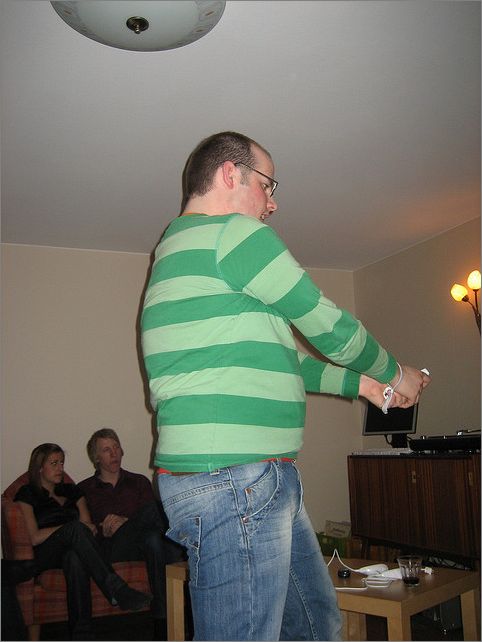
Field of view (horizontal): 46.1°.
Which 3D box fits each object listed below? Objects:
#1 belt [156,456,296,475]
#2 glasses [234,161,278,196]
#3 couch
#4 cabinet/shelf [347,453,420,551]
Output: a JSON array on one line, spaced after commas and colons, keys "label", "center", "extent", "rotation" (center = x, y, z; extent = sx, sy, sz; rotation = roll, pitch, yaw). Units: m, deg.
[{"label": "belt", "center": [-0.030, 0.245, 0.952], "extent": [0.246, 0.023, 0.122], "rotation": [-3, -11, 2]}, {"label": "glasses", "center": [0.033, -0.300, 1.176], "extent": [0.068, 0.017, 0.064], "rotation": [25, -13, -16]}, {"label": "couch", "center": [-1.142, 1.458, 3.454], "extent": [0.777, 0.872, 0.816], "rotation": [8, -35, -27]}, {"label": "cabinet/shelf", "center": [0.833, 1.026, 3.232], "extent": [0.225, 0.513, 0.590], "rotation": [10, -22, -19]}]
